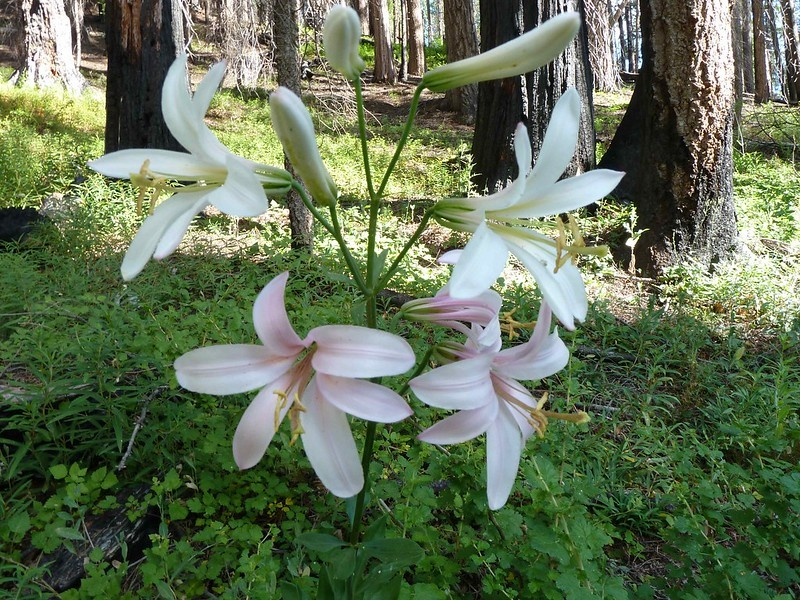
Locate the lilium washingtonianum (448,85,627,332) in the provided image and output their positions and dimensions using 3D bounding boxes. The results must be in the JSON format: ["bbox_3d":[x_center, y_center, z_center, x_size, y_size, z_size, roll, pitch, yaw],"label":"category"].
[{"bbox_3d":[0.524,-0.352,2.335,0.663,0.849,0.508,5,15,4],"label":"lilium washingtonianum"}]

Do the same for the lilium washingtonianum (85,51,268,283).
[{"bbox_3d":[-0.744,-0.510,2.503,0.694,0.664,0.709,-12,2,-29],"label":"lilium washingtonianum"}]

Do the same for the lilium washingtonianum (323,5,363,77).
[{"bbox_3d":[-0.221,-1.015,2.468,0.135,0.275,0.095,-10,53,6],"label":"lilium washingtonianum"}]

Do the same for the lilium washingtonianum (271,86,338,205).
[{"bbox_3d":[-0.352,-0.556,2.344,0.267,0.424,0.192,-1,15,-18],"label":"lilium washingtonianum"}]
